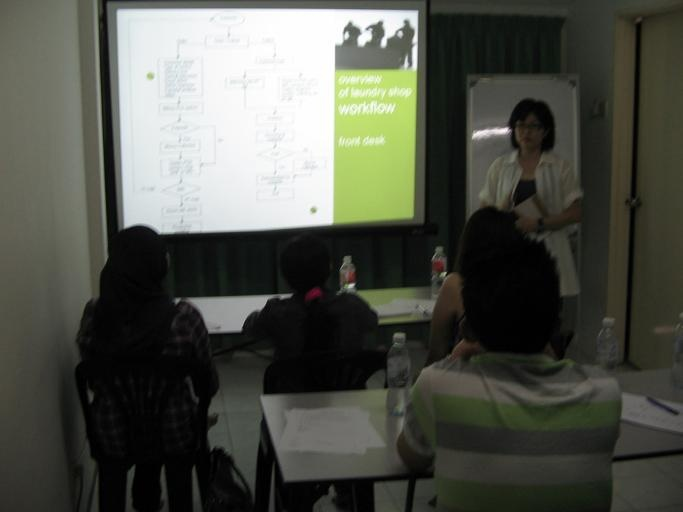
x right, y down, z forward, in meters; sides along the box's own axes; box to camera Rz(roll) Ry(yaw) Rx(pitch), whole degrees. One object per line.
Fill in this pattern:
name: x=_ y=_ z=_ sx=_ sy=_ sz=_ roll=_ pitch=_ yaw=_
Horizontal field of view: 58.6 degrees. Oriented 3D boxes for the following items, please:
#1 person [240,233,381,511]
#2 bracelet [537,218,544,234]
person: x=-0.120 y=0.187 z=2.667 sx=0.465 sy=0.559 sz=0.734 roll=-6 pitch=10 yaw=-25
bracelet: x=1.264 y=-0.193 z=3.844 sx=0.065 sy=0.097 sz=0.032 roll=-6 pitch=9 yaw=-29
